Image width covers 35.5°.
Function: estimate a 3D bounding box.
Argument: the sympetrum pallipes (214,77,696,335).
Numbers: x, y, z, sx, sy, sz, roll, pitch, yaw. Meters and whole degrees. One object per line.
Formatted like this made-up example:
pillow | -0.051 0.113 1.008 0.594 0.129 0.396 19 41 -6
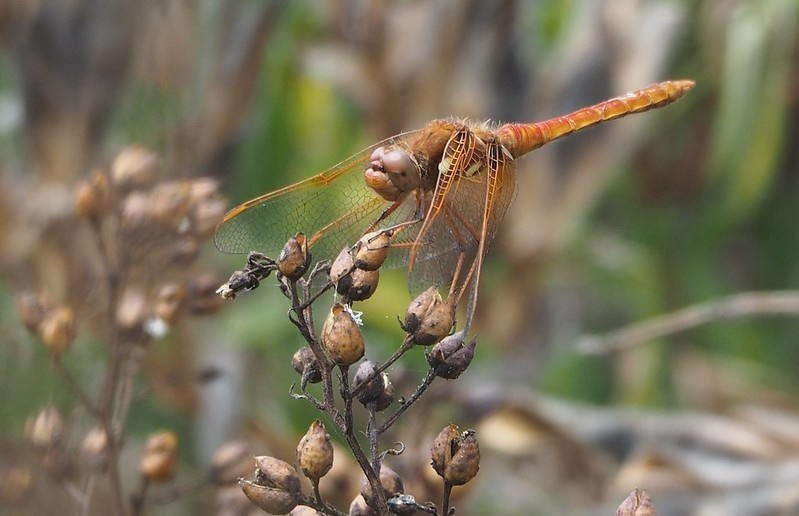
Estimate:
sympetrum pallipes | 0.157 -0.103 2.152 0.900 0.296 0.572 -10 13 -7
